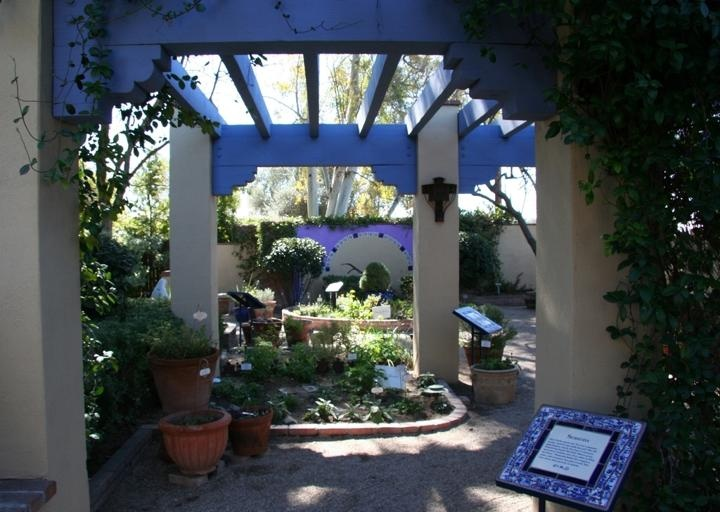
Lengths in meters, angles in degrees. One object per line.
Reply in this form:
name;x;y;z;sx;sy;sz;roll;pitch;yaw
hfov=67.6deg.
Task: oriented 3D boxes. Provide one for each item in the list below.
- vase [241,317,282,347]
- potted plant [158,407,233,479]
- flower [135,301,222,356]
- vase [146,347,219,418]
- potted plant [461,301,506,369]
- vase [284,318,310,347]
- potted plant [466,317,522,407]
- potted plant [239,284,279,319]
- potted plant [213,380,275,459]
vase;-1.607;1.225;8.929;0.486;0.349;0.523;0;-4;-2
potted plant;-1.361;1.555;4.506;0.565;0.459;0.589;-4;0;-34
flower;-2.041;0.839;6.041;0.752;0.292;1.289;-1;8;-23
vase;-1.794;1.244;5.515;0.580;0.532;0.623;-1;-4;0
potted plant;1.737;1.145;7.355;0.721;1.169;0.976;0;2;9
vase;-1.062;1.298;9.226;0.381;0.357;0.438;1;-1;2
potted plant;1.629;1.244;6.503;0.601;1.045;0.658;-3;-3;39
potted plant;-2.367;1.059;12.780;0.925;0.748;0.988;-1;1;-7
potted plant;-1.066;1.516;5.076;0.451;0.455;0.613;0;-6;-3
